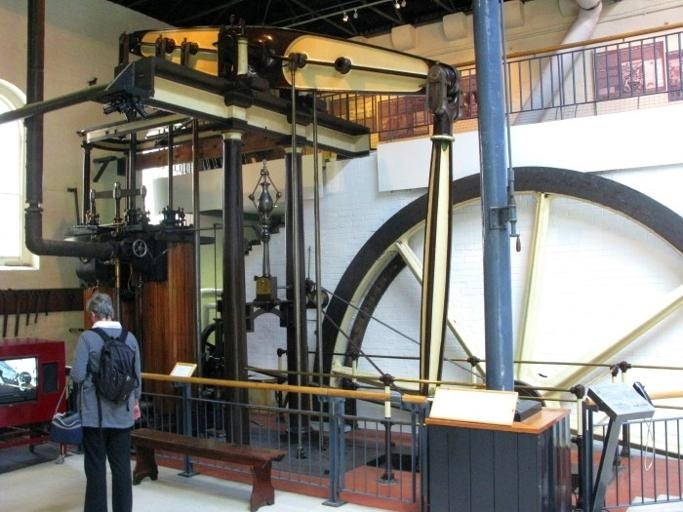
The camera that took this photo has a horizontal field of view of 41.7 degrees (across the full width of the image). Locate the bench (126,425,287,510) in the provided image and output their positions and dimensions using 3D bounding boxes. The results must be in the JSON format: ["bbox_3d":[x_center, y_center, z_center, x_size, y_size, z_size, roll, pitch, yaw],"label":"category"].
[{"bbox_3d":[-1.569,2.453,10.299,1.898,0.771,0.400,2,0,25],"label":"bench"}]

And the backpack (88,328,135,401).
[{"bbox_3d":[-2.405,1.149,9.353,0.464,0.686,0.198,1,0,-17],"label":"backpack"}]

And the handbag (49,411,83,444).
[{"bbox_3d":[-2.920,1.818,9.461,0.420,0.418,0.296,1,-10,6],"label":"handbag"}]
